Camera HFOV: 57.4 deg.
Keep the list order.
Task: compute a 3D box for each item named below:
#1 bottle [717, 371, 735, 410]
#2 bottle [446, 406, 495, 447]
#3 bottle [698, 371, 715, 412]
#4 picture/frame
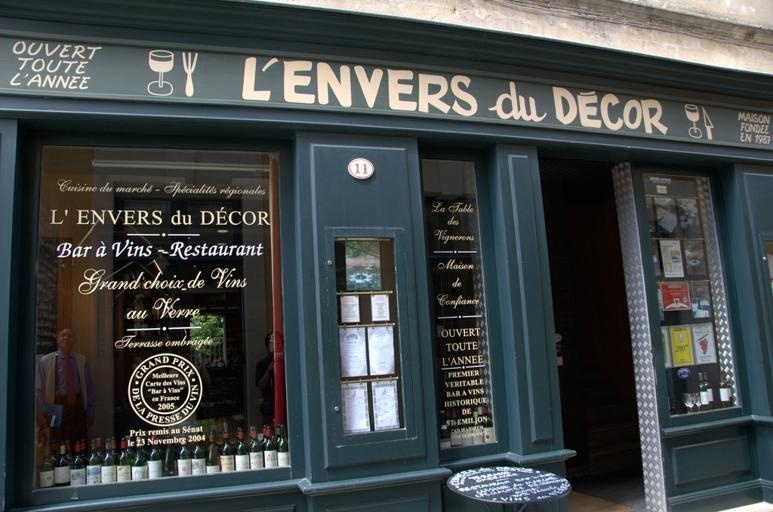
[{"bbox_3d":[3.506,1.363,7.287,0.187,0.334,0.042,-2,-9,-13],"label":"bottle"},{"bbox_3d":[0.784,1.562,6.549,0.386,0.335,0.091,-1,-3,-13],"label":"bottle"},{"bbox_3d":[3.260,1.380,7.226,0.198,0.373,0.044,1,-10,-30],"label":"bottle"},{"bbox_3d":[3.087,0.254,7.332,0.673,1.763,0.138,0,-9,-26],"label":"picture/frame"}]
